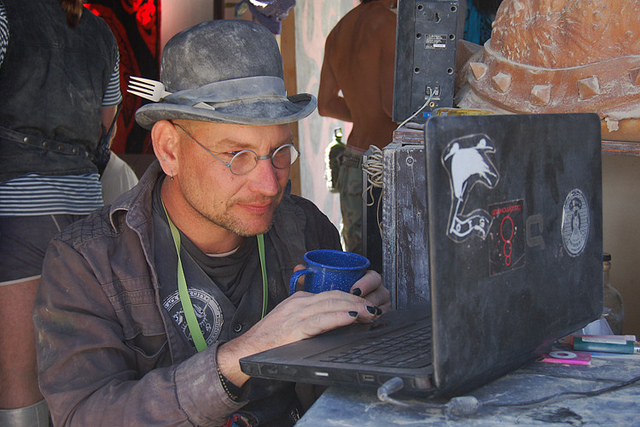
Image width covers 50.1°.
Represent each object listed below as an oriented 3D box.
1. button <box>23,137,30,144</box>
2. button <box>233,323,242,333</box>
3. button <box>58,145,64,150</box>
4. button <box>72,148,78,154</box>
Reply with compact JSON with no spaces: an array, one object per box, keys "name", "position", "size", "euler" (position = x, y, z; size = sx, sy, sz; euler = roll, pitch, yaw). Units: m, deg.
[{"name":"button","position":[-1.252,-0.304,2.916],"size":[0.025,0.027,0.006],"euler":[2,2,-36]},{"name":"button","position":[-0.290,0.404,2.418],"size":[0.026,0.029,0.006],"euler":[13,2,26]},{"name":"button","position":[-1.148,-0.283,3.029],"size":[0.023,0.026,0.006],"euler":[1,0,-29]},{"name":"button","position":[-1.104,-0.271,3.087],"size":[0.004,0.026,0.028],"euler":[2,8,26]}]
